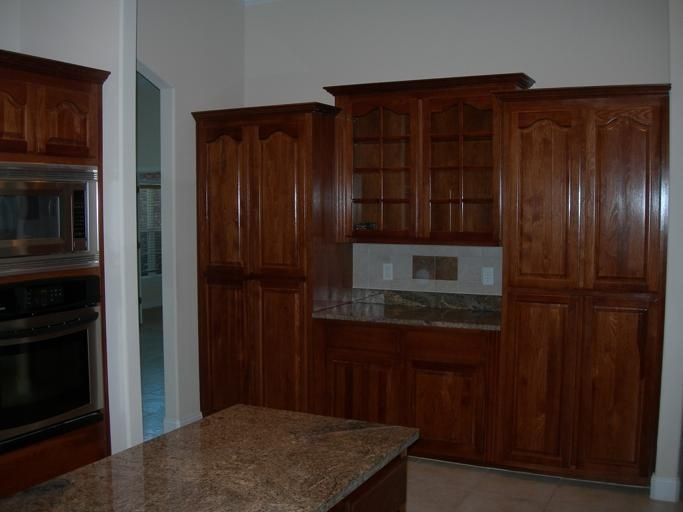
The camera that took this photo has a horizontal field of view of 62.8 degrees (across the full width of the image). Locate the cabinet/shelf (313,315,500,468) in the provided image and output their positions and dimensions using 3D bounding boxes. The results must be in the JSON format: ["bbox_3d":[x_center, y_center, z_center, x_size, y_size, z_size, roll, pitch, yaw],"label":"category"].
[{"bbox_3d":[0.564,1.075,4.577,1.433,1.025,0.496,0,-11,22],"label":"cabinet/shelf"}]

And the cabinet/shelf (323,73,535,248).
[{"bbox_3d":[0.728,-0.765,4.423,1.372,1.216,0.408,1,0,23],"label":"cabinet/shelf"}]

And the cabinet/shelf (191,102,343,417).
[{"bbox_3d":[-0.740,0.240,4.975,1.053,3.013,0.505,5,18,8],"label":"cabinet/shelf"}]
